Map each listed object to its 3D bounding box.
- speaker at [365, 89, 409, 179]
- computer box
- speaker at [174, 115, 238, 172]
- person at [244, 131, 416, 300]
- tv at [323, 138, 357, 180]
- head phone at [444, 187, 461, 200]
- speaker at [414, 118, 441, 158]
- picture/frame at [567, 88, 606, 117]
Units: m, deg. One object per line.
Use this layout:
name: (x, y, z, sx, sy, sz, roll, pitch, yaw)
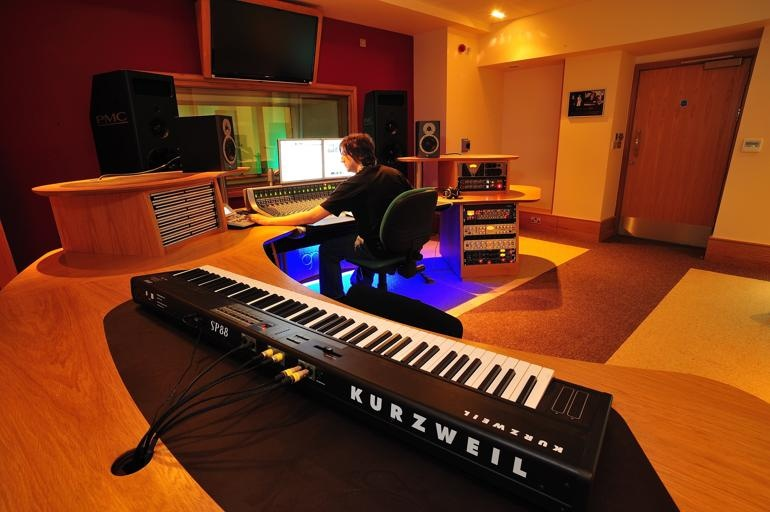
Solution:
speaker: (0.064, -1.434, 5.836, 0.448, 1.154, 0.419, 0, 29, 2)
computer box: (-1.606, -0.841, 3.123, 0.426, 0.659, 0.438, 3, 17, 9)
speaker: (-1.174, -0.746, 3.182, 0.293, 0.348, 0.363, 0, 16, 9)
person: (-0.308, -0.216, 3.930, 1.618, 1.480, 0.961, -13, 21, -38)
tv: (-0.455, -0.919, 4.496, 0.368, 0.372, 0.028, 7, 22, 16)
head phone: (0.676, -0.607, 4.789, 0.142, 0.106, 0.121, 19, 39, 29)
speaker: (0.468, -1.177, 4.961, 0.246, 0.405, 0.240, 0, -4, 15)
picture/frame: (2.527, -1.894, 5.921, 0.042, 0.281, 0.390, -18, 23, -39)
